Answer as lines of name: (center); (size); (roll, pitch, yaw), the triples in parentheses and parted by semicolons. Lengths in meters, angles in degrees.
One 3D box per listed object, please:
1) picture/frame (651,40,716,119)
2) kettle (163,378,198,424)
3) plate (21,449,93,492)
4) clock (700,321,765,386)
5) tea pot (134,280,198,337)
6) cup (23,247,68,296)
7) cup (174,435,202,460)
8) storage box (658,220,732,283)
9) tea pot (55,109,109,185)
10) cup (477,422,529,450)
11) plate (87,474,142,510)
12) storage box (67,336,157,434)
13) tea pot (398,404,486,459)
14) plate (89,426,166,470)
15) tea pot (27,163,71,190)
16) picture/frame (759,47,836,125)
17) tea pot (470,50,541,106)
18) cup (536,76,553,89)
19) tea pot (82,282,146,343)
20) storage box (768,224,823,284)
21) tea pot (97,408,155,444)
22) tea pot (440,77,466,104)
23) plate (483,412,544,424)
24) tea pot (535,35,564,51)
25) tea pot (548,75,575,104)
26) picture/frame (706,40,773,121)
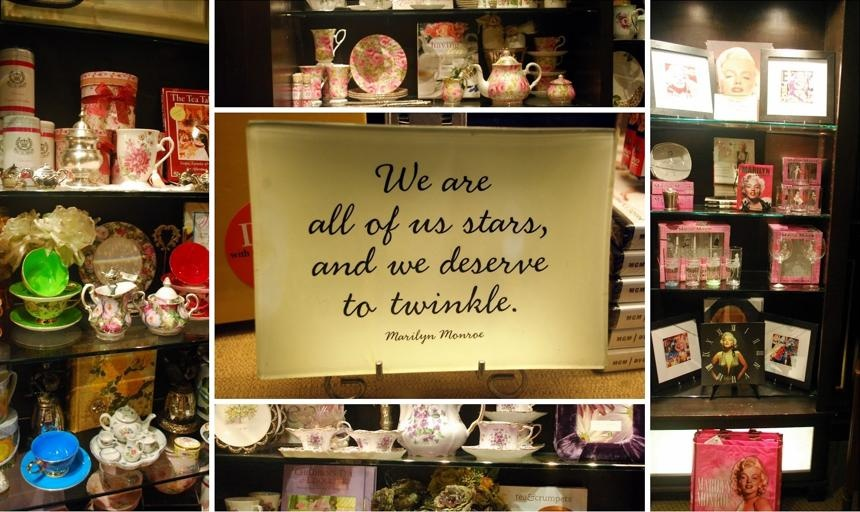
picture/frame: (1.097, -0.765, 2.768); (0.371, 0.300, 0.021); (-1, -4, -21)
kettle: (-1.061, 0.628, 2.787); (0.150, 0.156, 0.160); (6, 1, 7)
plate: (-1.510, 0.862, 2.575); (0.256, 0.145, 0.142); (-4, 7, -24)
clock: (1.348, 0.429, 2.827); (0.291, 0.276, 0.013); (-1, 1, 1)
tea pot: (-1.039, 0.214, 2.618); (0.304, 0.247, 0.216); (2, 19, -10)
cup: (-1.532, 0.063, 2.537); (0.196, 0.186, 0.086); (-14, 3, -33)
cup: (-1.015, 0.788, 2.664); (0.090, 0.079, 0.087); (3, 4, 0)
storage box: (1.196, -0.021, 2.886); (0.301, 0.241, 0.104); (-1, 1, -7)
tea pot: (-1.398, -0.435, 2.534); (0.175, 0.301, 0.189); (-1, 6, 0)
cup: (0.312, 0.725, 2.614); (0.171, 0.084, 0.119); (1, -5, 0)
plate: (-1.316, 0.969, 2.639); (0.201, 0.080, 0.196); (4, 14, 2)
storage box: (-1.345, 0.530, 2.654); (0.455, 0.399, 0.237); (-1, 0, -29)
tea pot: (0.044, 0.692, 2.594); (0.323, 0.216, 0.198); (1, -5, -10)
plate: (-1.234, 0.785, 2.570); (0.217, 0.035, 0.198); (7, 16, 9)
tea pot: (-1.456, -0.314, 2.430); (0.139, 0.088, 0.086); (1, 7, -10)
picture/frame: (1.622, -0.750, 2.784); (0.375, 0.361, 0.036); (1, 6, 7)
tea pot: (0.287, -0.727, 2.575); (0.306, 0.219, 0.184); (2, 14, -5)
cup: (0.486, -0.731, 2.678); (0.063, 0.044, 0.061); (-1, 13, 0)
tea pot: (-1.286, 0.213, 2.562); (0.190, 0.234, 0.119); (-3, 6, -19)
storage box: (1.655, -0.015, 2.872); (0.250, 0.316, 0.245); (0, 5, 7)
tea pot: (-1.271, 0.678, 2.655); (0.209, 0.137, 0.135); (8, 6, -5)
tea pot: (0.098, -0.682, 2.606); (0.089, 0.099, 0.105); (1, 1, 4)
plate: (0.343, 0.663, 2.642); (0.114, 0.027, 0.114); (-4, -10, 31)
tea pot: (0.510, -0.909, 2.700); (0.103, 0.044, 0.067); (2, 6, 0)
tea pot: (0.532, -0.677, 2.577); (0.113, 0.106, 0.108); (-1, 9, 0)
picture/frame: (1.377, -0.771, 2.824); (0.390, 0.443, 0.034); (1, -4, -5)
